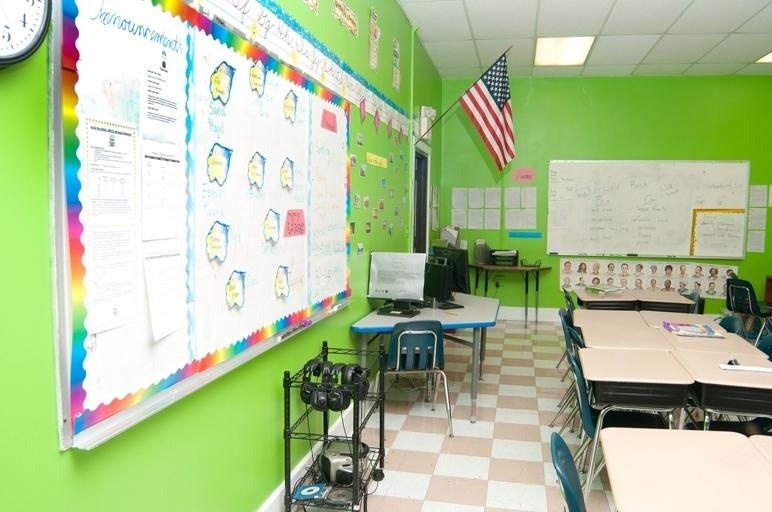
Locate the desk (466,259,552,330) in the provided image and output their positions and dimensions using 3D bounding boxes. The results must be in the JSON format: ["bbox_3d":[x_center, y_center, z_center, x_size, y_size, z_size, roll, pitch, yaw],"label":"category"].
[{"bbox_3d":[1.710,0.619,8.081,0.853,1.047,1.579,-3,0,13],"label":"desk"}]

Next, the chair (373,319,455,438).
[{"bbox_3d":[0.215,0.960,4.419,0.613,0.888,0.623,1,1,-8],"label":"chair"}]

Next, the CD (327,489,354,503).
[{"bbox_3d":[-0.274,1.414,3.178,0.142,0.022,0.129,0,10,-3],"label":"CD"}]

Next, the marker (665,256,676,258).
[{"bbox_3d":[3.911,0.021,7.415,0.114,0.037,0.014,4,10,17],"label":"marker"}]

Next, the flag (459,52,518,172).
[{"bbox_3d":[1.146,-1.620,6.059,0.510,1.241,0.660,5,11,25],"label":"flag"}]

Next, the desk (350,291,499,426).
[{"bbox_3d":[0.428,0.618,4.820,0.993,0.612,1.249,1,8,10],"label":"desk"}]

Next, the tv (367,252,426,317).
[{"bbox_3d":[0.105,0.247,4.753,0.519,0.527,0.311,2,1,20],"label":"tv"}]

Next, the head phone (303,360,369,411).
[{"bbox_3d":[-0.300,0.759,3.295,0.276,0.184,0.381,3,-4,10],"label":"head phone"}]

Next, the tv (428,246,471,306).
[{"bbox_3d":[0.631,0.173,5.542,0.198,0.510,0.557,-11,11,-28],"label":"tv"}]
